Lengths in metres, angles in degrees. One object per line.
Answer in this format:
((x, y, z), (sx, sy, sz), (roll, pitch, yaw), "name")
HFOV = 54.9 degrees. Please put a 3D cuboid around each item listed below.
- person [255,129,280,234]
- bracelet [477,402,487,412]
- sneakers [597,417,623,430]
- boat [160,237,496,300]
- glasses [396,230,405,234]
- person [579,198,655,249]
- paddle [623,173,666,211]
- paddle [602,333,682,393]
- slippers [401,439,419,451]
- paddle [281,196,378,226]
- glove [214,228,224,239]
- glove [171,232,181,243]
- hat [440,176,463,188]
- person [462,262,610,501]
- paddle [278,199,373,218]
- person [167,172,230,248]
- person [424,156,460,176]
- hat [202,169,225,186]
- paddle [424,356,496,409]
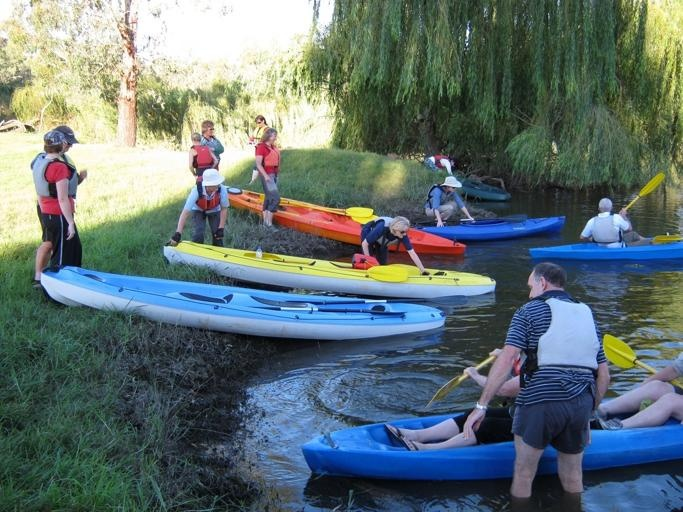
((-1.518, -1.563, 13.352), (0.463, 2.061, 1.100), (-2, 12, -6), "person")
((1.454, 1.560, 6.826), (0.110, 0.070, 0.045), (19, 18, 34), "bracelet")
((3.016, 1.894, 7.388), (0.164, 0.070, 0.141), (3, 24, 3), "sneakers")
((-0.353, 0.240, 11.537), (3.087, 0.482, 0.675), (6, 28, -4), "boat")
((0.991, -0.388, 10.973), (0.121, 0.068, 0.066), (-2, 13, -8), "glasses")
((5.551, -0.658, 13.423), (0.782, 0.926, 1.589), (8, 16, 44), "person")
((8.549, -1.821, 18.637), (2.347, 0.266, 0.108), (-44, 22, -22), "paddle")
((3.764, 1.371, 8.250), (1.319, 0.261, 0.186), (28, -5, -10), "paddle")
((0.738, 2.066, 7.183), (0.135, 0.044, 0.078), (12, 22, -6), "slippers")
((-0.367, -1.018, 14.874), (2.224, 0.357, 0.573), (10, 26, 16), "paddle")
((-2.096, -0.403, 11.207), (0.154, 0.166, 0.057), (5, 14, -15), "glove")
((-2.728, -0.310, 10.773), (0.144, 0.249, 0.449), (-4, 13, -16), "glove")
((2.458, -1.722, 15.244), (0.369, 0.179, 0.416), (-7, 13, -29), "hat")
((2.055, 1.311, 6.737), (1.242, 2.371, 0.621), (-5, 13, -18), "person")
((-0.463, -1.083, 15.002), (1.475, 0.234, 0.356), (8, 35, 12), "paddle")
((-2.370, -0.773, 10.883), (0.928, 1.348, 0.853), (-4, 13, -17), "person")
((3.069, -2.849, 20.551), (0.840, 0.351, 0.852), (13, 17, -24), "person")
((-2.101, -1.269, 10.635), (0.343, 0.275, 0.397), (-4, 13, -13), "hat")
((1.441, 1.572, 8.038), (1.144, 0.189, 0.090), (-36, 13, 15), "paddle")
